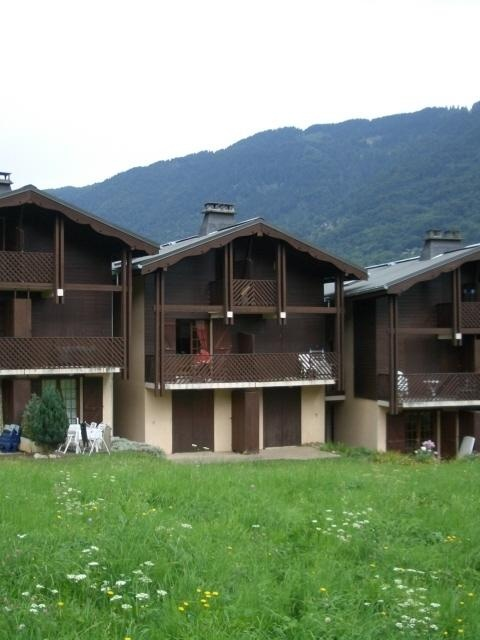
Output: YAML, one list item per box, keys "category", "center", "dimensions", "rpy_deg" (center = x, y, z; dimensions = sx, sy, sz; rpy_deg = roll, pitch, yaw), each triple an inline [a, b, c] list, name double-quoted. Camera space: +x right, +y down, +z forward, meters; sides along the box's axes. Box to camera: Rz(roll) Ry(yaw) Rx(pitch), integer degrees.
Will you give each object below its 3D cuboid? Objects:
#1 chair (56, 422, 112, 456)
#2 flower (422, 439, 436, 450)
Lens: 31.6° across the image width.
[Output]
- category: "chair"
  center: [-3.947, 3.112, 22.281]
  dimensions: [0.913, 0.641, 0.878]
  rpy_deg: [1, -1, -6]
- category: "flower"
  center: [6.085, 4.042, 27.600]
  dimensions: [0.319, 0.357, 0.362]
  rpy_deg: [1, -6, 26]
